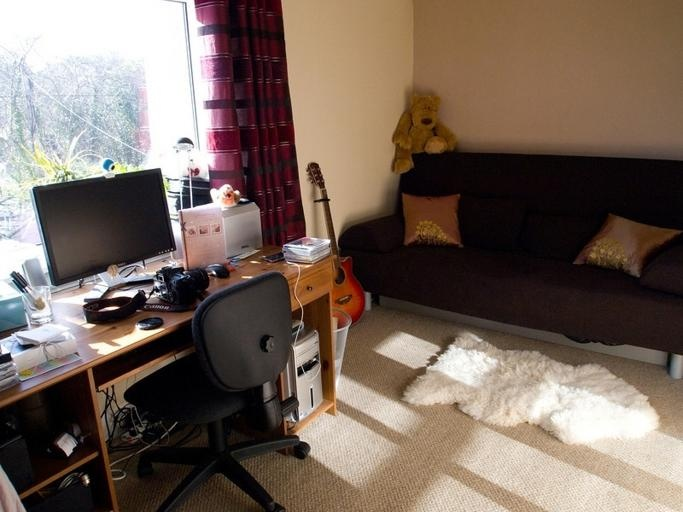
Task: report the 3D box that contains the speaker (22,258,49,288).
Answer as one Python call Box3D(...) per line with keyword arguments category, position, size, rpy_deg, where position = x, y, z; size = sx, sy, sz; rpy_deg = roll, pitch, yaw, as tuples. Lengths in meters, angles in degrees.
Box3D(category="speaker", position=(-1.272, 0.076, 2.143), size=(0.079, 0.150, 0.080), rpy_deg=(-25, 16, -38))

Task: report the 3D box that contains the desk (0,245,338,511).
Box3D(category="desk", position=(-0.652, 0.608, 2.341), size=(1.466, 0.877, 0.423), rpy_deg=(-21, 27, -36))

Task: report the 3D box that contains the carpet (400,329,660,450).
Box3D(category="carpet", position=(1.041, 0.748, 2.856), size=(0.785, 0.100, 0.551), rpy_deg=(9, 22, 31))

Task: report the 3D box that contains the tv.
Box3D(category="tv", position=(-1.072, -0.082, 2.308), size=(0.055, 0.418, 0.530), rpy_deg=(6, 19, 40))

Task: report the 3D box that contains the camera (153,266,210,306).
Box3D(category="camera", position=(-0.694, 0.115, 2.286), size=(0.206, 0.151, 0.228), rpy_deg=(3, 11, 30))

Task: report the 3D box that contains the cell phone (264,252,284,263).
Box3D(category="cell phone", position=(-0.334, -0.002, 2.628), size=(0.058, 0.065, 0.062), rpy_deg=(1, 13, 32))

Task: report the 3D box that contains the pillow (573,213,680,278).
Box3D(category="pillow", position=(1.803, -0.061, 3.278), size=(0.282, 0.292, 0.503), rpy_deg=(-20, 27, -36))

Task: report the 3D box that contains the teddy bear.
Box3D(category="teddy bear", position=(0.693, -1.006, 4.245), size=(0.555, 0.665, 0.355), rpy_deg=(-8, 20, -16))
